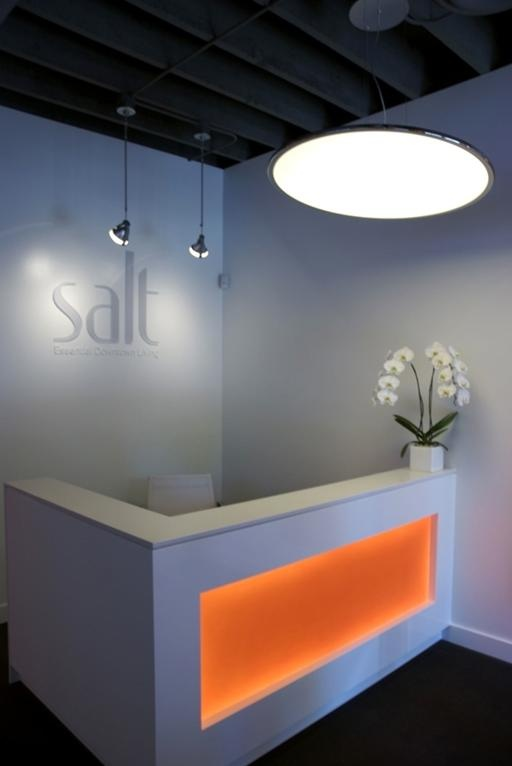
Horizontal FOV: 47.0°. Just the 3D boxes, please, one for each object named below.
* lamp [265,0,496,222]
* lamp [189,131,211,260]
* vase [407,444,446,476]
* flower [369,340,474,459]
[{"bbox_3d":[0.348,-0.691,1.584,0.426,0.481,0.469,15,18,42],"label":"lamp"},{"bbox_3d":[-0.362,-1.284,4.007,0.153,0.800,0.154,21,27,38],"label":"lamp"},{"bbox_3d":[0.920,0.402,3.184,0.143,0.151,0.148,-1,1,-37],"label":"vase"},{"bbox_3d":[0.927,0.108,3.245,0.481,0.634,0.483,1,0,20],"label":"flower"}]
